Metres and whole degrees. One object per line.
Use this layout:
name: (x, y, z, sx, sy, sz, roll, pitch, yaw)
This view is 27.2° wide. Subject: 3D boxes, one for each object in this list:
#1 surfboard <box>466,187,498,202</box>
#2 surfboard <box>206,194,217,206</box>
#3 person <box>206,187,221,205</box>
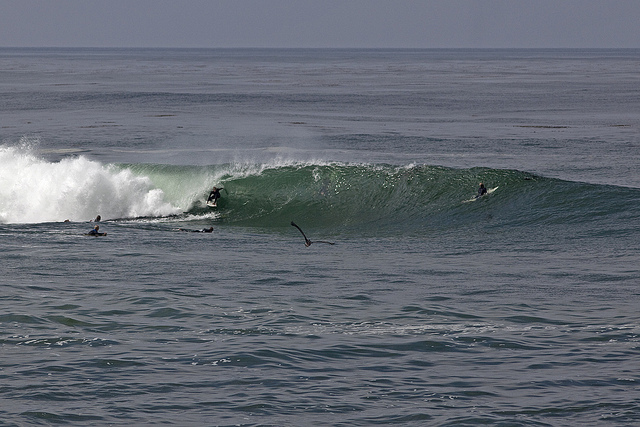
surfboard: (5.861, -0.720, 46.685, 0.915, 0.247, 0.244, -23, 58, -4)
surfboard: (-3.788, -0.506, 48.635, 0.571, 0.389, 0.123, 3, 16, 18)
person: (-3.725, -0.674, 48.742, 0.486, 0.625, 0.762, 2, 10, -5)
